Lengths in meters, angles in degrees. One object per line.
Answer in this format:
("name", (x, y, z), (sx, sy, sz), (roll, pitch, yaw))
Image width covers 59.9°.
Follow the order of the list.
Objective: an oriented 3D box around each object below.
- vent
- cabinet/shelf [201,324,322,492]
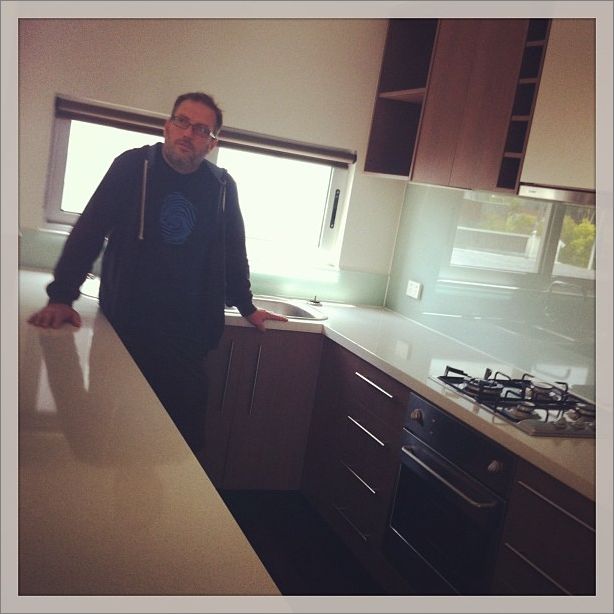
("vent", (0.421, -0.312, 0.864), (0.121, 0.269, 0.086), (7, 11, 4))
("cabinet/shelf", (-0.135, 0.134, 0.914), (0.212, 0.298, 0.158), (7, 17, -31))
